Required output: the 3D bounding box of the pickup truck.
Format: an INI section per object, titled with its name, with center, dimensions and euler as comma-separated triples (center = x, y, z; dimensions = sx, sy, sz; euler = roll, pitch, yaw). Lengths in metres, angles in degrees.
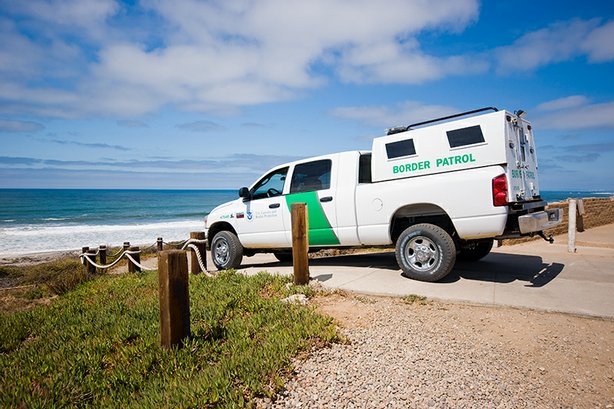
[pickup truck]
center = 1.672, -0.196, 8.418
dimensions = 7.291, 2.947, 3.326
euler = -1, -1, 33
